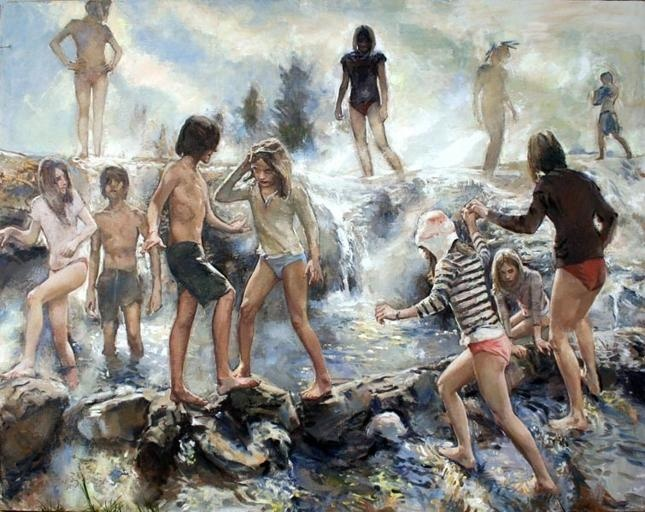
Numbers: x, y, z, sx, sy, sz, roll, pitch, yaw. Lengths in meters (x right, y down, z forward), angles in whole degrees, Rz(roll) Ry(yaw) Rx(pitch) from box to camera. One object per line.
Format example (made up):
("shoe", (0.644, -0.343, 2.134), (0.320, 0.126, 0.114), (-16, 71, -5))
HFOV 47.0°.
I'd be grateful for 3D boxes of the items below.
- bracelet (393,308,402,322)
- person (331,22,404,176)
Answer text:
("bracelet", (1.044, 0.798, 10.026), (0.111, 0.192, 0.164), (3, -17, 7))
("person", (0.688, -2.399, 11.503), (0.952, 2.276, 0.281), (-4, -5, 7))
